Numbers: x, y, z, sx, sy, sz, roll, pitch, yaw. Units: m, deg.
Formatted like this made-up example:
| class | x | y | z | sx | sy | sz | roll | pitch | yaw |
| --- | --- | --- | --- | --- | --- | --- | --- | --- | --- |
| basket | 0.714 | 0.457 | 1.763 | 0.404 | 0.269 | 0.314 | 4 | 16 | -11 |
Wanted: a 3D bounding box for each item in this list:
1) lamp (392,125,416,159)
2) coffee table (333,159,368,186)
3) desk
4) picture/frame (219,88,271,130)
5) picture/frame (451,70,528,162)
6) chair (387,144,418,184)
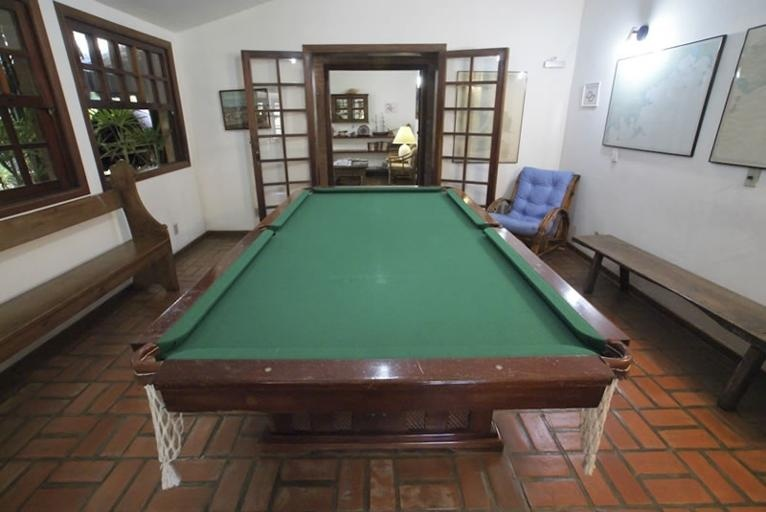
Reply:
| class | x | y | z | sx | sy | sz | roll | pitch | yaw |
| --- | --- | --- | --- | --- | --- | --- | --- | --- | --- |
| lamp | 0.456 | -2.375 | 9.801 | 0.418 | 0.612 | 1.000 | 0 | 19 | 1 |
| coffee table | -0.637 | -1.614 | 9.242 | 0.598 | 0.473 | 0.711 | -1 | 19 | -2 |
| desk | -0.117 | 0.345 | 4.373 | 3.100 | 1.156 | 4.110 | -3 | 23 | -11 |
| picture/frame | -1.753 | -1.900 | 6.024 | 0.615 | 0.458 | 0.022 | 0 | 19 | 3 |
| picture/frame | 1.347 | -1.838 | 6.036 | 1.227 | 1.524 | 0.058 | 0 | 21 | -2 |
| chair | 0.403 | -1.834 | 9.677 | 0.812 | 0.960 | 0.731 | 1 | 26 | 1 |
